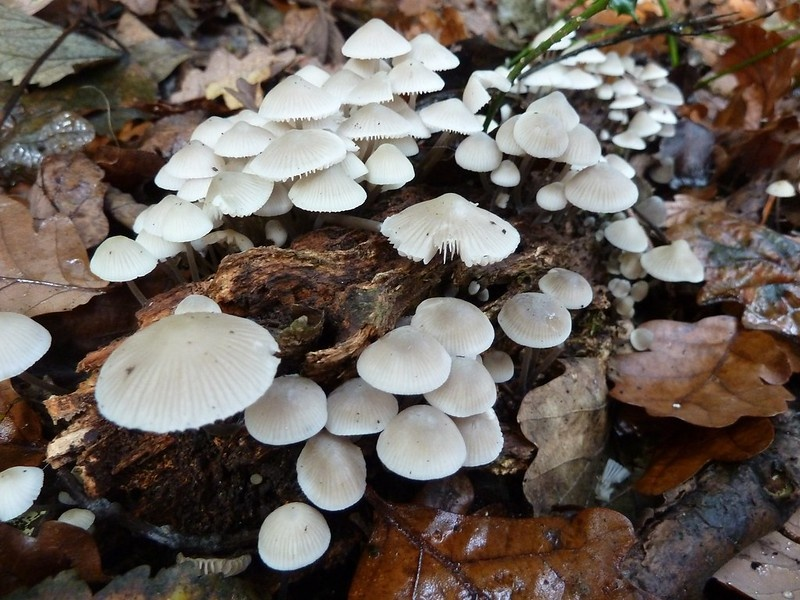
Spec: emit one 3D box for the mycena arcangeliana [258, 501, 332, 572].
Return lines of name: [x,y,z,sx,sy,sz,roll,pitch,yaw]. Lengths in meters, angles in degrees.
mycena arcangeliana: [-0.743,1.637,5.331,0.471,0.486,0.417,-29,65,-28]
